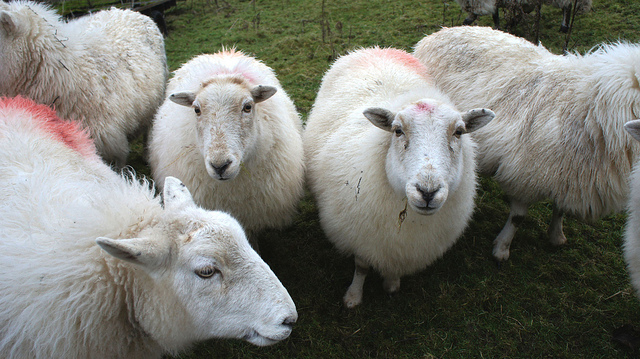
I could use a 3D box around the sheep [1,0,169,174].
[{"bbox_3d":[-3.901,-2.471,11.044,2.084,2.781,3.936,21,36,23],"label":"sheep"}]
